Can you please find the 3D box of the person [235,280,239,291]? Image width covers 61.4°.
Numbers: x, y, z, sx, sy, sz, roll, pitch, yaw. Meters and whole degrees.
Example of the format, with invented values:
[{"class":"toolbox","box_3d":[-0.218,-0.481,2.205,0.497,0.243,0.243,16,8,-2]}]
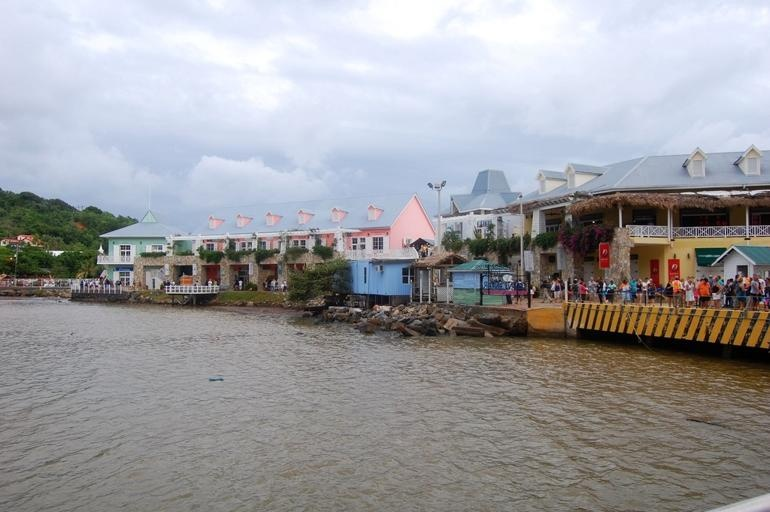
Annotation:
[{"class":"person","box_3d":[-17.972,3.632,79.516,0.606,0.981,0.527,12,3,41]}]
